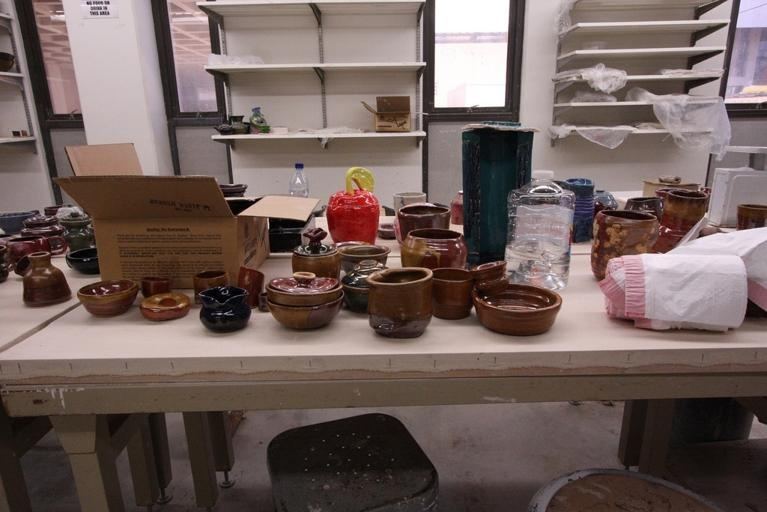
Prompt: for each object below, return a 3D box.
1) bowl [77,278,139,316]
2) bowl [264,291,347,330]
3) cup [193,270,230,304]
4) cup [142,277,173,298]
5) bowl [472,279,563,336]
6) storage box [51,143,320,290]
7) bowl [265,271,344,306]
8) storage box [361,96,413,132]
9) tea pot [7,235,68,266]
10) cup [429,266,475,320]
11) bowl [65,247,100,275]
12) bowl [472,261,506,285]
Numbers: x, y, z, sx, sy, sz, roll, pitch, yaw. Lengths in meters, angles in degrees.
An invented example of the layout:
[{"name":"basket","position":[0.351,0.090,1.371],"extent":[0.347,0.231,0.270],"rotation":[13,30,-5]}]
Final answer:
[{"name":"bowl","position":[-0.972,0.160,2.025],"extent":[0.199,0.088,0.194],"rotation":[-1,12,0]},{"name":"bowl","position":[-0.271,0.183,1.999],"extent":[0.294,0.108,0.272],"rotation":[3,8,0]},{"name":"cup","position":[-0.618,0.118,2.033],"extent":[0.103,0.084,0.128],"rotation":[2,5,20]},{"name":"cup","position":[-0.820,0.111,2.048],"extent":[0.085,0.056,0.080],"rotation":[1,9,0]},{"name":"bowl","position":[0.450,0.171,1.887],"extent":[0.237,0.077,0.213],"rotation":[1,15,7]},{"name":"storage box","position":[-0.786,-0.176,2.344],"extent":[1.011,0.457,0.967],"rotation":[-4,14,-14]},{"name":"bowl","position":[-0.275,0.108,1.979],"extent":[0.275,0.083,0.264],"rotation":[2,12,0]},{"name":"storage box","position":[0.106,-1.144,4.540],"extent":[0.433,0.242,0.407],"rotation":[-4,16,-4]},{"name":"tea pot","position":[-1.452,-0.036,2.435],"extent":[0.178,0.108,0.250],"rotation":[2,3,35]},{"name":"cup","position":[0.245,0.151,1.984],"extent":[0.155,0.126,0.171],"rotation":[0,0,-36]},{"name":"bowl","position":[-1.212,0.025,2.292],"extent":[0.136,0.064,0.139],"rotation":[2,7,0]},{"name":"bowl","position":[0.357,0.054,1.904],"extent":[0.087,0.036,0.084],"rotation":[-17,11,4]}]
